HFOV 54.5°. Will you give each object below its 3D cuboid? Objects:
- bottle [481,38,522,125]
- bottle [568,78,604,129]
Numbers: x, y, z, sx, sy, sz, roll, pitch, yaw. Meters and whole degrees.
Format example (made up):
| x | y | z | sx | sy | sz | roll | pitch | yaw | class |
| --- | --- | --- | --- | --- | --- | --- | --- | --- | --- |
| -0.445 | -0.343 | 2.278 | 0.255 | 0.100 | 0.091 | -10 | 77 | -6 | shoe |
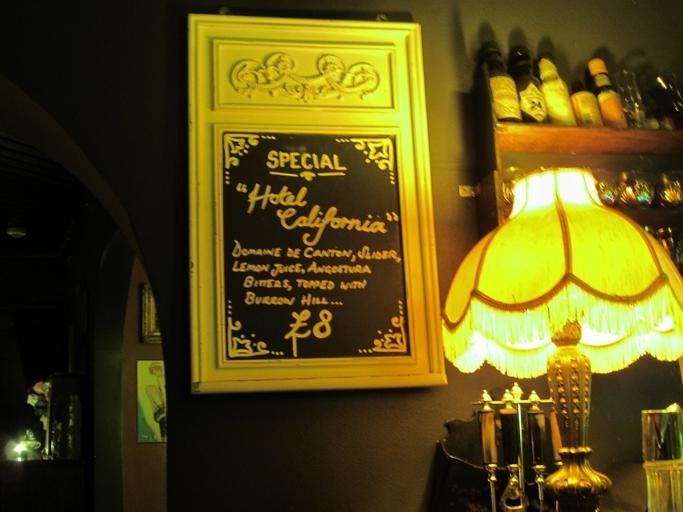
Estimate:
| x | y | z | sx | sy | sz | roll | pitch | yaw | class |
| --- | --- | --- | --- | --- | --- | --- | --- | --- | --- |
| 0.619 | -0.690 | 2.599 | 0.135 | 0.384 | 0.153 | -2 | -9 | 0 | bottle |
| 0.969 | -0.602 | 2.628 | 0.079 | 0.274 | 0.073 | 1 | -43 | 1 | bottle |
